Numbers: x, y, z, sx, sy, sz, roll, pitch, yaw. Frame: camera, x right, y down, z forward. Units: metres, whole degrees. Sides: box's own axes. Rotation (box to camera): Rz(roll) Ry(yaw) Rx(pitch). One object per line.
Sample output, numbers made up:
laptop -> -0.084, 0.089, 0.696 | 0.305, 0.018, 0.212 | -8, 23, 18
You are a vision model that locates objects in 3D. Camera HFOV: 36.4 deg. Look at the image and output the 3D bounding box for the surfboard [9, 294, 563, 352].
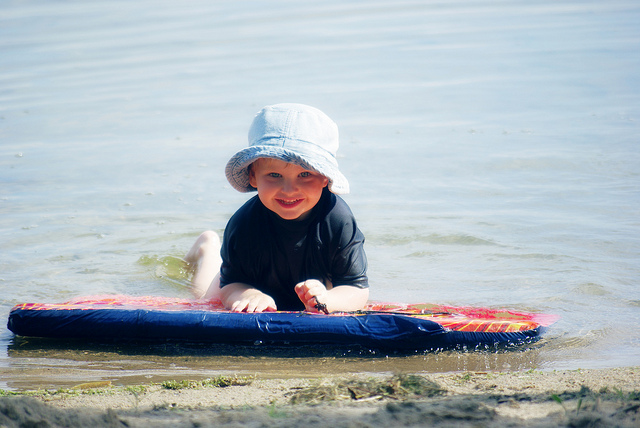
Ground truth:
surfboard -> -0.686, 1.598, 14.159 | 7.432, 0.673, 0.691 | 0, 5, 2
